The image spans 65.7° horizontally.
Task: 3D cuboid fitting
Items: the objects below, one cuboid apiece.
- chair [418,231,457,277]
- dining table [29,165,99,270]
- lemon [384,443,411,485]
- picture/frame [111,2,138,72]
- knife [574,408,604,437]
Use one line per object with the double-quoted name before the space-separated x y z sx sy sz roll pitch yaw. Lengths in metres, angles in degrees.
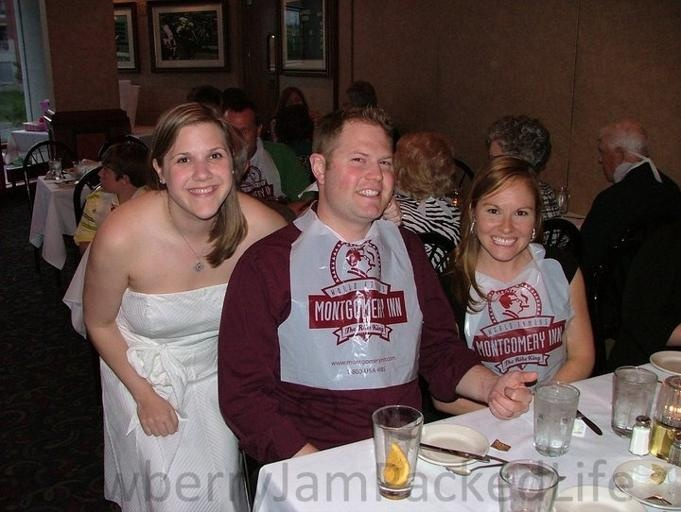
"chair" 0.400 -0.006 2.182 0.114 0.166 0.112 -11 33 -10
"dining table" -2.576 -0.327 4.918 0.862 0.843 0.857 0 13 -30
"lemon" 0.132 0.484 1.223 0.060 0.092 0.033 0 13 7
"picture/frame" -4.112 -4.170 10.064 0.627 1.237 0.189 5 15 28
"knife" 0.680 0.454 1.474 0.033 0.038 0.101 2 24 -24
